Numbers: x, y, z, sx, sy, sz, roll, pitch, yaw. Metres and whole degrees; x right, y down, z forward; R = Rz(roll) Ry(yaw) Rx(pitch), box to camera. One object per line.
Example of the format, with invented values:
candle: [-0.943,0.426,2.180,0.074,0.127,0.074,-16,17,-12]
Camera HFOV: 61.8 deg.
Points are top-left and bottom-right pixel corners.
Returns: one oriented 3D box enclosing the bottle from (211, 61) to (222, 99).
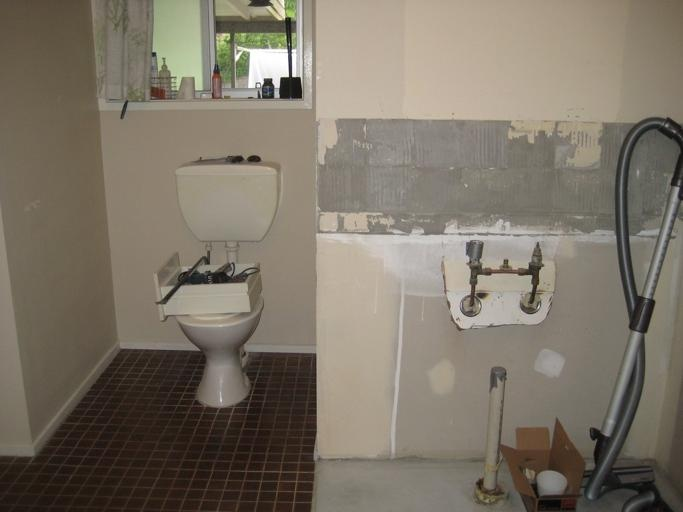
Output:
bottle: [-0.707,-0.986,3.223,0.051,0.197,0.213,-3,15,-10]

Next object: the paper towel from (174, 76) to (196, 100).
paper towel: [-0.868,-0.931,3.186,0.098,0.118,0.101,-5,15,-16]

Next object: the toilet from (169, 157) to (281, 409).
toilet: [-0.625,0.112,2.990,0.542,1.133,0.843,2,21,1]

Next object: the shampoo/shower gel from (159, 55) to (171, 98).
shampoo/shower gel: [-0.996,-0.990,3.241,0.067,0.187,0.072,-6,16,-21]

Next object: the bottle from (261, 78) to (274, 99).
bottle: [-0.408,-0.923,3.162,0.071,0.108,0.084,-3,15,-8]
